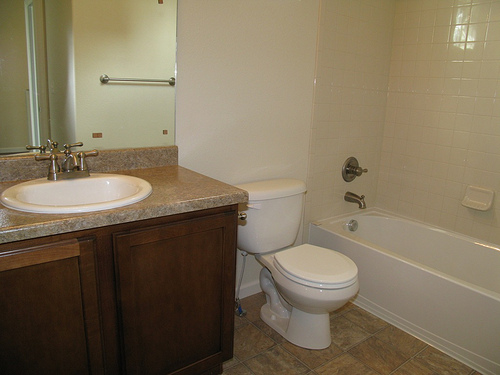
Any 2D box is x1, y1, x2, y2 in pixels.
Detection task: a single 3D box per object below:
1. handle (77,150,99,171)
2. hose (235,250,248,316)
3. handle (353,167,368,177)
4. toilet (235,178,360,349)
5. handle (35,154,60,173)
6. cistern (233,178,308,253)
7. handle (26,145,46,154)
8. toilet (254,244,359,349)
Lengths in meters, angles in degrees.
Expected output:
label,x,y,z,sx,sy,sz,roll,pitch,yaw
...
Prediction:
label,x,y,z,sx,sy,sz,roll,pitch,yaw
handle,-0.817,-0.143,1.918,0.088,0.093,0.146,-4,18,-11
hose,-0.057,0.630,2.568,0.088,0.446,0.207,-1,17,-1
handle,0.881,-0.124,2.977,0.064,0.034,0.089,-22,17,-23
toilet,0.278,0.493,2.390,0.581,0.921,0.838,-7,16,-30
handle,-0.975,-0.115,1.795,0.112,0.115,0.062,-1,12,-41
cistern,0.110,0.142,2.512,0.612,0.465,0.371,-11,23,-33
handle,-1.064,-0.189,1.879,0.091,0.041,0.027,5,-1,-38
toilet,0.357,0.656,2.440,0.457,0.512,0.720,-8,13,-31
